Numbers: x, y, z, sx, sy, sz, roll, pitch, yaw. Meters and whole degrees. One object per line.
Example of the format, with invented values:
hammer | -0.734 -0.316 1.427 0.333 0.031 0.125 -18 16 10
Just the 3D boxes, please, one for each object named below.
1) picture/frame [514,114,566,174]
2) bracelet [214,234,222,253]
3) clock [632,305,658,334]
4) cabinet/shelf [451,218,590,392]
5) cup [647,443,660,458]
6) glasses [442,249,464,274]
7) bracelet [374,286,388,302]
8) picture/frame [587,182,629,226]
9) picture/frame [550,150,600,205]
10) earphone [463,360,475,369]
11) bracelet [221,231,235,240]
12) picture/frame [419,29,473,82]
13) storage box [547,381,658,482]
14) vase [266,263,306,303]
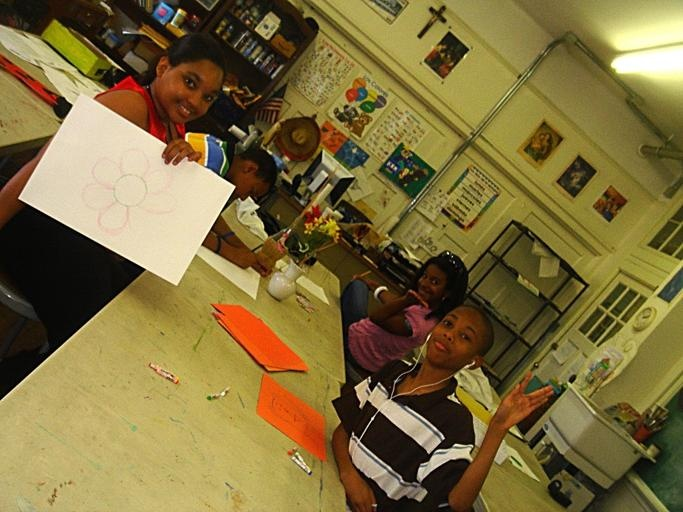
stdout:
picture/frame | 1.990 -1.167 4.914 0.341 0.474 0.032 39 5 -9
bracelet | -0.547 -0.058 2.166 0.024 0.076 0.029 4 10 -18
clock | 2.344 0.483 3.781 0.039 0.259 0.290 36 3 13
cabinet/shelf | 1.679 0.441 4.364 0.811 1.643 0.433 42 9 14
cup | 1.851 1.154 2.895 0.054 0.040 0.054 25 32 -17
glasses | 0.635 0.027 2.835 0.079 0.041 0.136 -17 61 -48
bracelet | 0.267 0.247 3.303 0.074 0.094 0.100 -1 -8 6
picture/frame | 2.731 -0.556 4.975 0.299 0.289 0.023 44 6 2
picture/frame | 2.350 -0.832 4.946 0.322 0.443 0.030 36 6 -6
earphone | 0.475 0.402 1.816 0.028 0.034 0.039 0 9 -17
bracelet | -0.528 -0.096 2.266 0.037 0.030 0.039 3 4 1
picture/frame | 1.048 -2.019 4.835 0.299 0.403 0.019 36 18 5
storage box | 1.338 0.959 2.716 0.530 0.339 0.459 48 7 22
vase | -0.283 0.132 2.415 0.122 0.166 0.123 40 7 17
